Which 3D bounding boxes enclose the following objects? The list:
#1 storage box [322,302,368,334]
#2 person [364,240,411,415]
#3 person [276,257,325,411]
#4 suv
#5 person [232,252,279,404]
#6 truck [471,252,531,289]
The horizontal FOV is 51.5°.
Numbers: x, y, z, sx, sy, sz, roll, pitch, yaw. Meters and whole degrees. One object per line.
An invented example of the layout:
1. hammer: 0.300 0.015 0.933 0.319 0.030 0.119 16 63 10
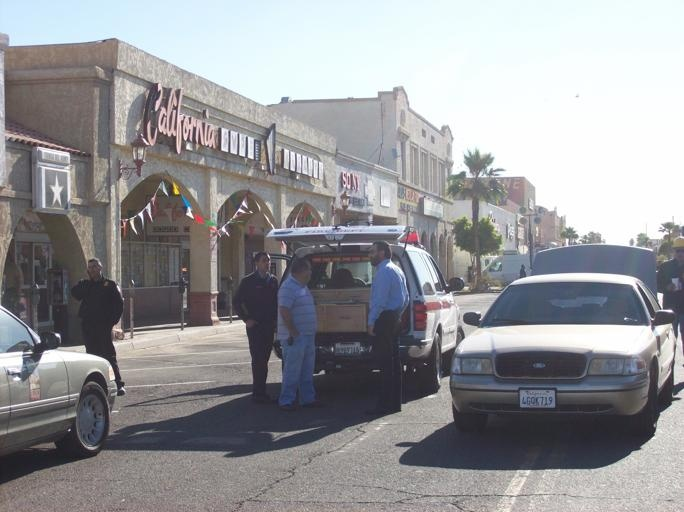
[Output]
1. storage box: 0.005 0.967 10.797 0.444 0.339 0.506 -1 -2 6
2. person: 0.641 0.992 10.004 0.551 2.376 0.491 -1 1 3
3. person: -0.650 1.108 10.111 0.552 2.120 0.441 -1 1 -16
4. suv: 0.799 0.745 12.301 1.850 2.150 3.530 -1 1 17
5. person: -1.271 1.052 10.608 0.660 2.204 0.598 -1 1 -11
6. truck: 10.855 1.010 48.958 2.472 3.069 4.338 -4 2 -38
